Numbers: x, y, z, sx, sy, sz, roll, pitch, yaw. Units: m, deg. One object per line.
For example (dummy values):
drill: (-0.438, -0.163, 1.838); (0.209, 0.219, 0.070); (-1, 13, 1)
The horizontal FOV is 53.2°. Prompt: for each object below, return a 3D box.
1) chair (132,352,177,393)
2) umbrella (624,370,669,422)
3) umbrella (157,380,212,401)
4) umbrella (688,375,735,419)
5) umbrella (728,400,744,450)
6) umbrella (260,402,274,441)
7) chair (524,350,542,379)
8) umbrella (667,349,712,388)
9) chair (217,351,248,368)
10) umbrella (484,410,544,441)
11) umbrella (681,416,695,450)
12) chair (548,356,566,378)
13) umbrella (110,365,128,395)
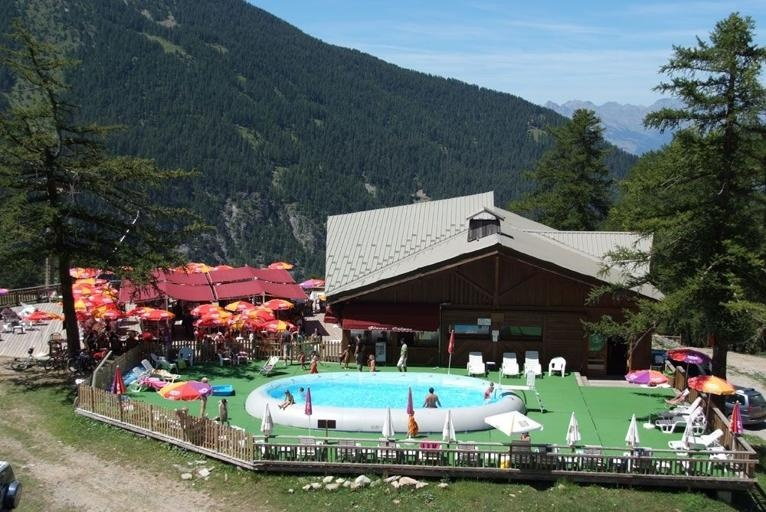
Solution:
chair: (-16.338, 8.320, 53.568); (3.460, 2.071, 2.697); (-1, -3, 32)
umbrella: (17.230, 8.908, 50.163); (1.846, 2.707, 1.232); (0, -6, -24)
umbrella: (-12.047, 8.334, 47.113); (2.168, 1.251, 2.629); (0, -3, 17)
umbrella: (20.075, 7.847, 46.816); (2.094, 1.725, 2.324); (7, 4, 23)
umbrella: (20.537, 9.700, 44.610); (0.566, 2.497, 1.319); (0, -3, 24)
umbrella: (-6.973, 9.791, 46.039); (0.686, 1.972, 3.495); (2, -3, -8)
chair: (11.038, 7.897, 56.189); (1.278, 1.837, 2.783); (1, -3, 13)
umbrella: (21.105, 7.778, 52.873); (2.441, 2.755, 2.508); (0, -5, -13)
chair: (-11.465, 7.917, 58.945); (1.818, 1.273, 1.182); (-2, 3, -3)
umbrella: (7.481, 9.610, 44.300); (2.084, 0.965, 2.066); (-2, 2, -36)
umbrella: (17.839, 10.244, 44.748); (0.572, 1.843, 1.793); (0, -3, 25)
chair: (12.980, 8.245, 57.166); (1.284, 1.817, 1.256); (-1, -4, 18)
umbrella: (-16.739, 7.803, 48.457); (0.693, 1.763, 1.865); (2, -3, -22)
